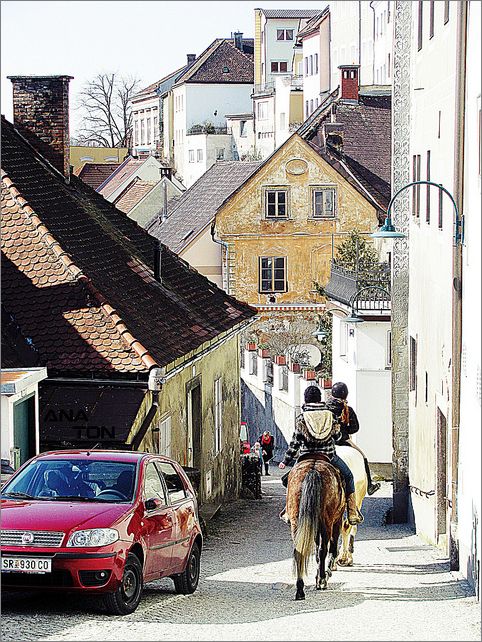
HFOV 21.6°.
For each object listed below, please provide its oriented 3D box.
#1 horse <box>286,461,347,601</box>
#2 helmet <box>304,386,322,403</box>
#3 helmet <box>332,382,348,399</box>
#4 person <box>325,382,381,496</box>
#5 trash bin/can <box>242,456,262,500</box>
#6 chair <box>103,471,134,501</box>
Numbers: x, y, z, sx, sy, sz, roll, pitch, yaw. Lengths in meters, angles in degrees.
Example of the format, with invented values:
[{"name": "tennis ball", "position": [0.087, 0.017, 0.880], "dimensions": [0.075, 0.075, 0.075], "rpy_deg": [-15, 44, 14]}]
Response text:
[{"name": "horse", "position": [0.899, 2.084, 13.642], "dimensions": [0.414, 1.833, 2.103], "rpy_deg": [1, -5, 13]}, {"name": "helmet", "position": [0.767, 0.786, 13.560], "dimensions": [0.113, 0.235, 0.190], "rpy_deg": [3, 3, 14]}, {"name": "helmet", "position": [1.320, 0.925, 16.910], "dimensions": [0.141, 0.284, 0.233], "rpy_deg": [0, -5, 12]}, {"name": "person", "position": [1.229, 1.579, 14.069], "dimensions": [0.261, 1.013, 1.534], "rpy_deg": [-8, 41, -11]}, {"name": "trash bin/can", "position": [0.228, 3.500, 28.242], "dimensions": [0.474, 0.969, 0.703], "rpy_deg": [1, 3, -1]}, {"name": "chair", "position": [-1.021, 1.424, 10.983], "dimensions": [0.164, 0.264, 0.194], "rpy_deg": [8, -14, 27]}]
